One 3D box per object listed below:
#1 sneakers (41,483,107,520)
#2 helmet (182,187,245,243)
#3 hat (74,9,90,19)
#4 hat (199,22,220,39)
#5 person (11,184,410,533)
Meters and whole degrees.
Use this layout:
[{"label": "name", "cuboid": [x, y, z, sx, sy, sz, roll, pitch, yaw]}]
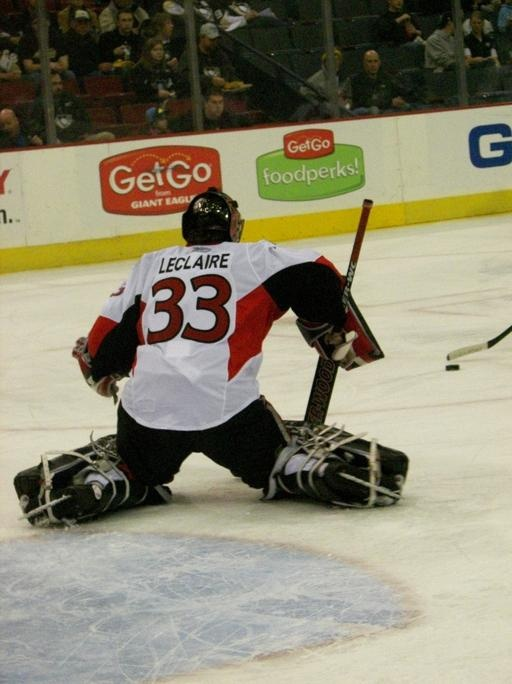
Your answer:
[{"label": "sneakers", "cuboid": [-0.508, 0.453, 2.099, 0.138, 0.051, 0.118, -7, 11, 28]}, {"label": "helmet", "cuboid": [-0.133, -0.395, 2.342, 0.185, 0.178, 0.215, 6, 14, 29]}, {"label": "hat", "cuboid": [-2.025, -3.799, 8.768, 0.060, 0.123, 0.206, 2, 10, 28]}, {"label": "hat", "cuboid": [-0.564, -3.679, 8.922, 0.063, 0.203, 0.330, 3, 11, 32]}, {"label": "person", "cuboid": [-0.160, 0.033, 2.241, 1.101, 0.958, 0.551, -4, 11, -1]}]
